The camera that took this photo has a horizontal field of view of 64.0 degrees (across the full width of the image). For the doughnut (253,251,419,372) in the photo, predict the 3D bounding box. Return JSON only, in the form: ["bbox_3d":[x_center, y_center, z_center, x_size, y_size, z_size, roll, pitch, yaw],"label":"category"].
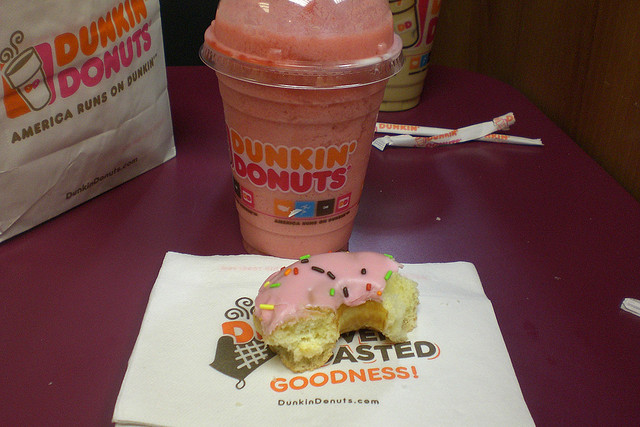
[{"bbox_3d":[0.023,0.122,0.751,0.190,0.081,0.167,-18,43,-15],"label":"doughnut"}]
